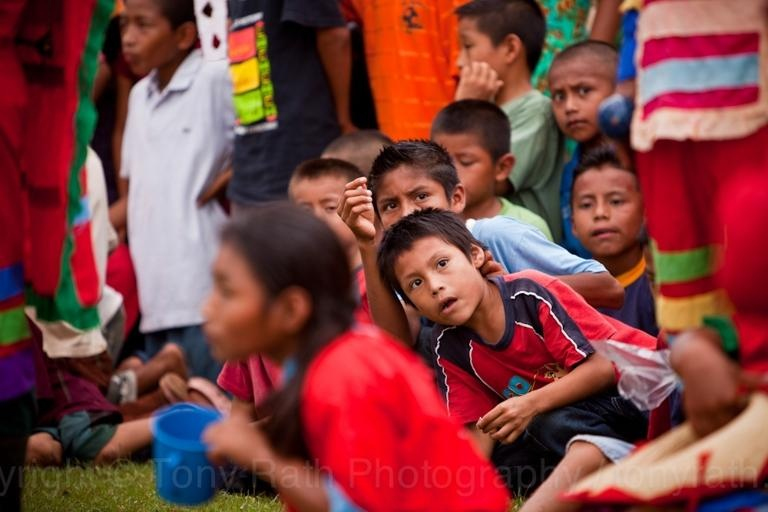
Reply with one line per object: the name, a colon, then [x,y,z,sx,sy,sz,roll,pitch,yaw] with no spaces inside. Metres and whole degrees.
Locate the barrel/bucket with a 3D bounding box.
barrel/bucket: [-0.578,0.571,2.267,0.231,0.220,0.270,3,14,1]
